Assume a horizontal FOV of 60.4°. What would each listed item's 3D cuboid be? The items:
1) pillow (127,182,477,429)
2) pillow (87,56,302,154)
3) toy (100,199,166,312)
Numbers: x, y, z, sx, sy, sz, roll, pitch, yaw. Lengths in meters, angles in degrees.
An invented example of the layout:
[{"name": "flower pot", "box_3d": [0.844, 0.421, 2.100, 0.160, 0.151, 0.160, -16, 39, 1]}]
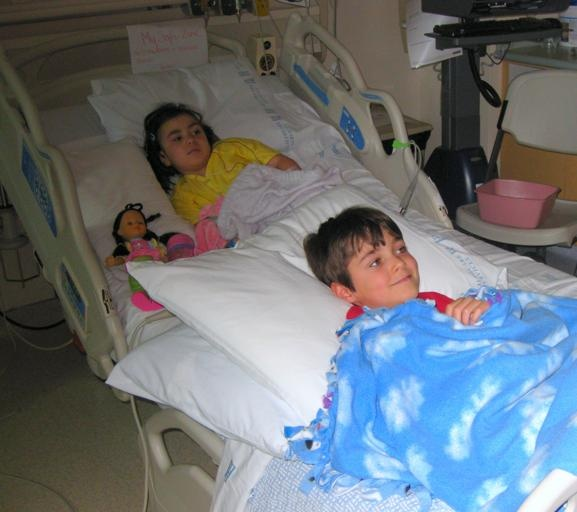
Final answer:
[{"name": "pillow", "box_3d": [0.078, 0.036, 1.351, 0.645, 0.152, 0.688, -34, 62, -26]}, {"name": "pillow", "box_3d": [-0.499, -0.782, 2.471, 0.708, 0.137, 0.602, -20, 67, -25]}, {"name": "toy", "box_3d": [-0.581, 0.024, 1.908, 0.209, 0.141, 0.470, -3, 53, -26]}]
